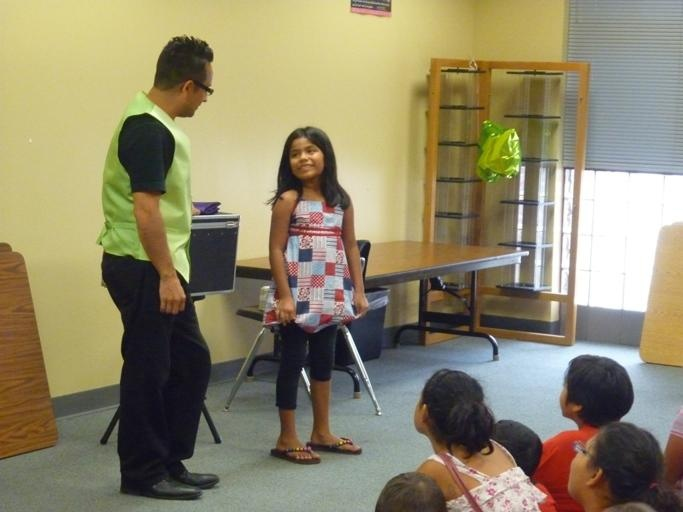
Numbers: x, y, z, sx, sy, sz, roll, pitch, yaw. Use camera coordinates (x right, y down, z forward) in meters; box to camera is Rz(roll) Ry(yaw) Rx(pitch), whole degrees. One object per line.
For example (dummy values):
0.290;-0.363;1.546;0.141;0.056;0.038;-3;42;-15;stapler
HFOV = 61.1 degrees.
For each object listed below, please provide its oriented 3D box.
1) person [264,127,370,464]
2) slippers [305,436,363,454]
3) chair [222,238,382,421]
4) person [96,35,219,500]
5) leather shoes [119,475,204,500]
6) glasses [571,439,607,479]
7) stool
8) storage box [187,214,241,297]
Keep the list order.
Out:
-0.119;0.202;3.078;0.538;1.746;0.342;-1;6;-17;person
-0.026;0.998;3.161;0.248;0.065;0.120;0;1;16;slippers
-0.237;0.476;4.200;1.122;1.633;1.168;2;1;17;chair
-0.766;0.083;2.472;0.488;2.012;0.324;-1;6;-23;person
-0.769;0.997;2.477;0.381;0.113;0.130;1;-2;5;leather shoes
0.653;0.536;1.566;0.088;0.133;0.077;1;0;9;glasses
-1.118;0.698;3.590;0.828;1.107;0.743;6;-9;-25;stool
-0.643;0.009;3.504;0.455;0.458;0.346;0;-3;39;storage box
